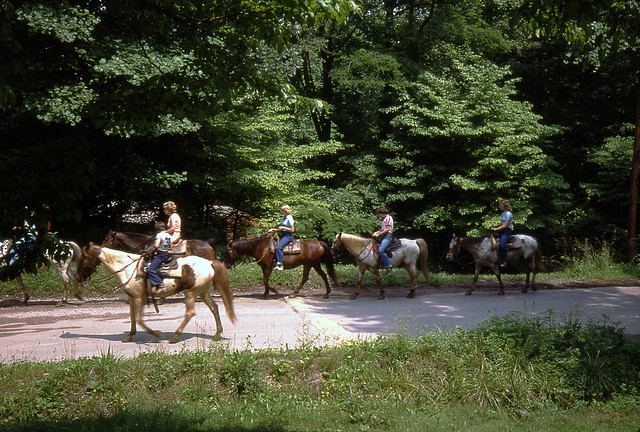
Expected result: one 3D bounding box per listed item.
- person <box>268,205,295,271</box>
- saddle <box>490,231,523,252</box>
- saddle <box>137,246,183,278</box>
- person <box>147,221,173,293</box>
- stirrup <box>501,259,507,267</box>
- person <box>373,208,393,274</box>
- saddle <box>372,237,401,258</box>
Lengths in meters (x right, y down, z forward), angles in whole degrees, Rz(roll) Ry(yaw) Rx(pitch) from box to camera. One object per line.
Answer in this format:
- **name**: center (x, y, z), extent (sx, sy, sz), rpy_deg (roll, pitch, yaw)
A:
- **person**: center (-1.225, 0.736, 22.040), extent (0.696, 2.163, 0.919), rpy_deg (1, 1, -4)
- **saddle**: center (6.449, 0.830, 23.195), extent (0.728, 0.823, 0.349), rpy_deg (3, 4, -27)
- **saddle**: center (-4.042, 1.179, 16.606), extent (1.102, 0.766, 0.312), rpy_deg (1, 1, -12)
- **person**: center (-4.074, 1.078, 16.778), extent (0.544, 1.719, 0.657), rpy_deg (1, 1, -6)
- **stirrup**: center (6.442, 1.637, 23.044), extent (0.087, 0.202, 0.131), rpy_deg (1, 1, 7)
- **person**: center (2.130, 0.834, 21.978), extent (0.558, 2.151, 0.662), rpy_deg (1, 1, 12)
- **saddle**: center (2.247, 1.072, 22.020), extent (0.969, 0.660, 0.304), rpy_deg (1, 1, -25)
